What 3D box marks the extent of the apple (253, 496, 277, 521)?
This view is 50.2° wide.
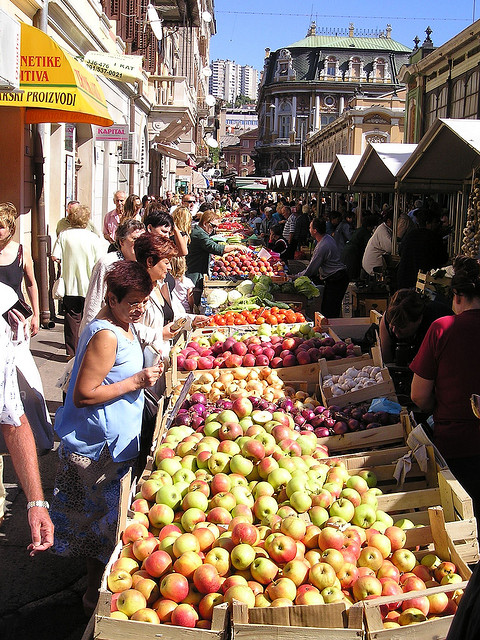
[{"bbox_3d":[0.103,0.780,2.119,0.083,0.089,0.101,-18,0,7],"label":"apple"}]

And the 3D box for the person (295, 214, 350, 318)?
[{"bbox_3d":[1.601,-0.959,9.428,0.970,1.814,0.759,2,10,-4],"label":"person"}]

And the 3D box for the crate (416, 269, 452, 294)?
[{"bbox_3d":[2.612,-0.503,6.919,0.296,0.264,1.109,5,10,13],"label":"crate"}]

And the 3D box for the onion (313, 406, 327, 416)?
[{"bbox_3d":[0.520,0.592,3.355,0.053,0.064,0.053,5,-31,9],"label":"onion"}]

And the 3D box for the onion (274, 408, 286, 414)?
[{"bbox_3d":[0.253,0.573,3.217,0.039,0.026,0.047,-2,-4,9],"label":"onion"}]

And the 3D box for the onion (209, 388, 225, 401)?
[{"bbox_3d":[-0.169,0.512,3.519,0.092,0.058,0.133,5,10,11],"label":"onion"}]

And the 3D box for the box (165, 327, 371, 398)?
[{"bbox_3d":[0.115,0.318,4.092,1.109,0.344,0.913,-3,11,-8],"label":"box"}]

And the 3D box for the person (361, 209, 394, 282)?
[{"bbox_3d":[2.859,-1.462,10.594,0.553,1.360,0.986,5,10,13],"label":"person"}]

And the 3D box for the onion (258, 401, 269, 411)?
[{"bbox_3d":[0.145,0.535,3.170,0.043,0.043,0.043,-16,-17,25],"label":"onion"}]

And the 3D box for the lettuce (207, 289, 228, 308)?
[{"bbox_3d":[-0.329,-0.318,7.383,0.294,0.241,0.257,2,10,-4],"label":"lettuce"}]

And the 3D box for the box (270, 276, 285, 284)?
[{"bbox_3d":[0.648,-0.702,8.753,0.232,0.116,0.259,4,10,4],"label":"box"}]

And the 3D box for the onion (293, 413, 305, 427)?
[{"bbox_3d":[0.372,0.632,3.218,0.047,0.061,0.048,-24,-3,4],"label":"onion"}]

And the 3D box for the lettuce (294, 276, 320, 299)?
[{"bbox_3d":[1.070,-0.564,8.342,0.336,0.168,0.348,-3,50,-44],"label":"lettuce"}]

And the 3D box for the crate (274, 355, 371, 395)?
[{"bbox_3d":[0.581,0.409,4.084,0.441,0.182,0.441,-9,12,1],"label":"crate"}]

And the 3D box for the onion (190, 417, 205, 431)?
[{"bbox_3d":[-0.251,0.623,3.062,0.072,0.087,0.072,-1,-13,11],"label":"onion"}]

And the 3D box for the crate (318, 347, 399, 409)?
[{"bbox_3d":[0.867,0.478,3.697,0.460,0.284,0.441,-19,10,18],"label":"crate"}]

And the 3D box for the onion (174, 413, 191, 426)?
[{"bbox_3d":[-0.353,0.608,3.089,0.104,0.062,0.075,4,10,4],"label":"onion"}]

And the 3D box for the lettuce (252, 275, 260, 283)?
[{"bbox_3d":[0.270,-0.688,8.385,0.033,0.112,0.121,23,-11,-35],"label":"lettuce"}]

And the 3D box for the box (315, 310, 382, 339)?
[{"bbox_3d":[1.117,0.042,5.424,0.695,0.266,0.563,-3,11,-6],"label":"box"}]

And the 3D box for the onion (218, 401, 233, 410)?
[{"bbox_3d":[-0.089,0.538,3.168,0.082,0.034,0.102,0,11,-15],"label":"onion"}]

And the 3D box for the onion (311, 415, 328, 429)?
[{"bbox_3d":[0.499,0.630,3.182,0.083,0.065,0.047,-10,-36,12],"label":"onion"}]

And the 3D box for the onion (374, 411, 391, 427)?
[{"bbox_3d":[0.883,0.609,3.118,0.059,0.075,0.066,3,-8,13],"label":"onion"}]

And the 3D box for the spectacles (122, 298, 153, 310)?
[{"bbox_3d":[-0.506,-0.081,2.472,0.080,0.023,0.082,-5,37,-40],"label":"spectacles"}]

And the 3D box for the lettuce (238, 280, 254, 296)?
[{"bbox_3d":[0.109,-0.520,7.841,0.214,0.215,0.251,4,23,16],"label":"lettuce"}]

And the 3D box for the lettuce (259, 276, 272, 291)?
[{"bbox_3d":[0.414,-0.619,8.087,0.224,0.179,0.169,19,-34,5],"label":"lettuce"}]

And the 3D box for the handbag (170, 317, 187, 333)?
[{"bbox_3d":[-0.492,0.038,3.999,0.034,0.127,0.073,12,41,-53],"label":"handbag"}]

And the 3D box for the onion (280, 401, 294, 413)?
[{"bbox_3d":[0.309,0.572,3.327,0.062,0.072,0.062,-1,-8,4],"label":"onion"}]

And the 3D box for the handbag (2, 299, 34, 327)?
[{"bbox_3d":[-1.753,-0.091,4.021,0.187,0.187,0.062,41,-6,-5],"label":"handbag"}]

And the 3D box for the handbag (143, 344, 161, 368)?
[{"bbox_3d":[-0.510,0.197,2.825,0.122,0.123,0.031,28,16,27],"label":"handbag"}]

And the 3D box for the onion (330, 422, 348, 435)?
[{"bbox_3d":[0.605,0.665,3.108,0.081,0.060,0.061,-16,-23,7],"label":"onion"}]

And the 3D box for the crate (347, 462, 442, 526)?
[{"bbox_3d":[0.766,0.804,2.391,0.268,0.164,0.260,-5,2,-5],"label":"crate"}]

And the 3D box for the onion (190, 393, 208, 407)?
[{"bbox_3d":[-0.273,0.516,3.364,0.082,0.099,0.083,17,5,18],"label":"onion"}]

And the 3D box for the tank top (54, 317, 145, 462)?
[{"bbox_3d":[-0.678,0.350,2.491,0.438,0.753,0.383,-1,11,-20],"label":"tank top"}]
